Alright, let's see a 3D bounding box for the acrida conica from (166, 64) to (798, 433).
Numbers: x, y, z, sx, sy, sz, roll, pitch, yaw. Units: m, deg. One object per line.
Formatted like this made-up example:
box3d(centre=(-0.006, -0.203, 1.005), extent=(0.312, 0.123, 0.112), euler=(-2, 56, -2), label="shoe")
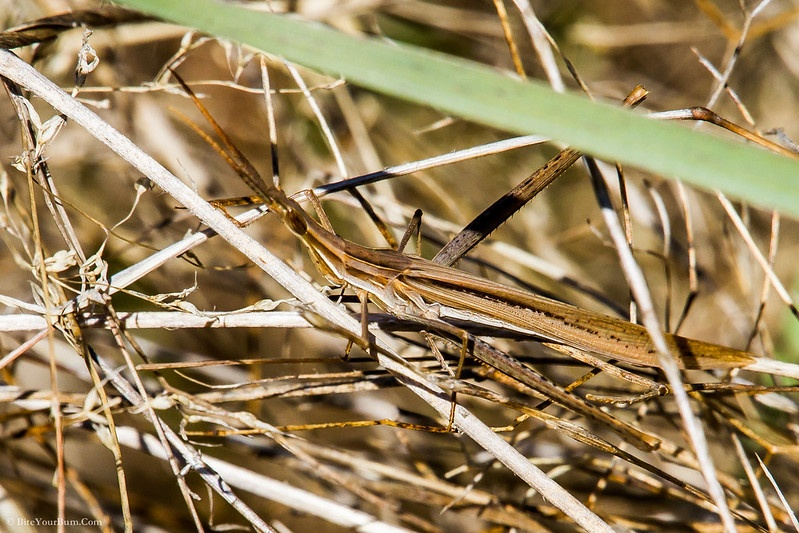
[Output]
box3d(centre=(0.217, 0.200, 3.040), extent=(1.630, 0.622, 1.247), euler=(19, 25, -15), label="acrida conica")
